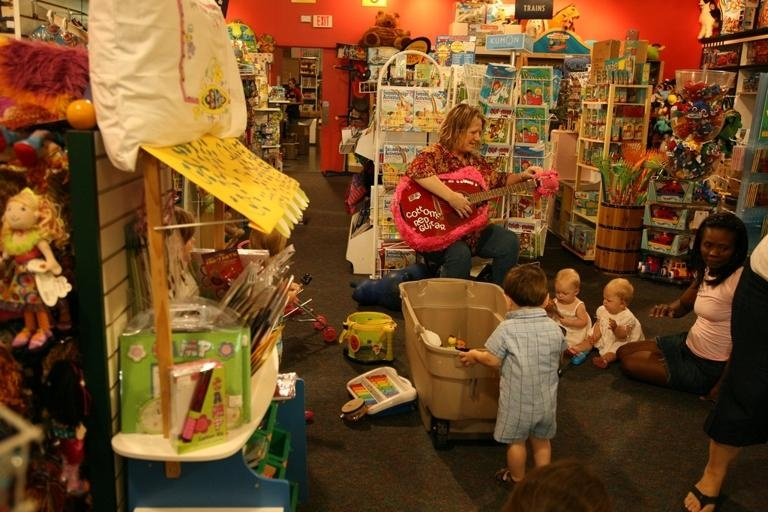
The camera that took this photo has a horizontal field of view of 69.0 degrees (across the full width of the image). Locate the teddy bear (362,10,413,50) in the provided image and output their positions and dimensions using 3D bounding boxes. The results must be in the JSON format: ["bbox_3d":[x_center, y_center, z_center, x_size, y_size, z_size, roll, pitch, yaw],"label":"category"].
[{"bbox_3d":[0.067,-4.266,10.691,0.932,0.811,0.538,3,-3,-6],"label":"teddy bear"}]

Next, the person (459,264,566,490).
[{"bbox_3d":[0.700,0.622,2.873,0.384,1.094,0.386,-6,16,-27],"label":"person"}]

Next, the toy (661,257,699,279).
[{"bbox_3d":[3.044,0.137,5.822,0.177,0.140,0.282,0,5,0],"label":"toy"}]

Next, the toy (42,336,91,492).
[{"bbox_3d":[-1.143,0.587,2.031,0.128,0.553,0.166,-8,17,-33],"label":"toy"}]

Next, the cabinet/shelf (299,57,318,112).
[{"bbox_3d":[-2.041,-4.644,15.452,0.559,1.484,1.366,-1,15,-7],"label":"cabinet/shelf"}]

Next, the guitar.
[{"bbox_3d":[0.609,-0.399,4.373,0.917,0.479,0.226,-14,-6,1],"label":"guitar"}]

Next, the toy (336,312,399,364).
[{"bbox_3d":[-0.126,0.585,4.087,0.393,0.263,0.311,5,14,6],"label":"toy"}]

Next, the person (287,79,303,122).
[{"bbox_3d":[-2.403,-4.140,14.893,0.362,1.157,1.445,-1,15,-9],"label":"person"}]

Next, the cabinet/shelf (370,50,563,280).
[{"bbox_3d":[0.673,-1.310,6.601,2.186,2.880,2.109,0,23,2],"label":"cabinet/shelf"}]

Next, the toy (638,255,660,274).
[{"bbox_3d":[2.835,0.097,5.951,0.168,0.183,0.190,0,3,21],"label":"toy"}]

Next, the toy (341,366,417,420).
[{"bbox_3d":[-0.019,0.871,3.584,0.393,0.147,0.399,-3,16,-17],"label":"toy"}]

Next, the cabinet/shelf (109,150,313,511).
[{"bbox_3d":[-0.715,0.187,2.368,0.615,1.289,1.120,0,15,-6],"label":"cabinet/shelf"}]
